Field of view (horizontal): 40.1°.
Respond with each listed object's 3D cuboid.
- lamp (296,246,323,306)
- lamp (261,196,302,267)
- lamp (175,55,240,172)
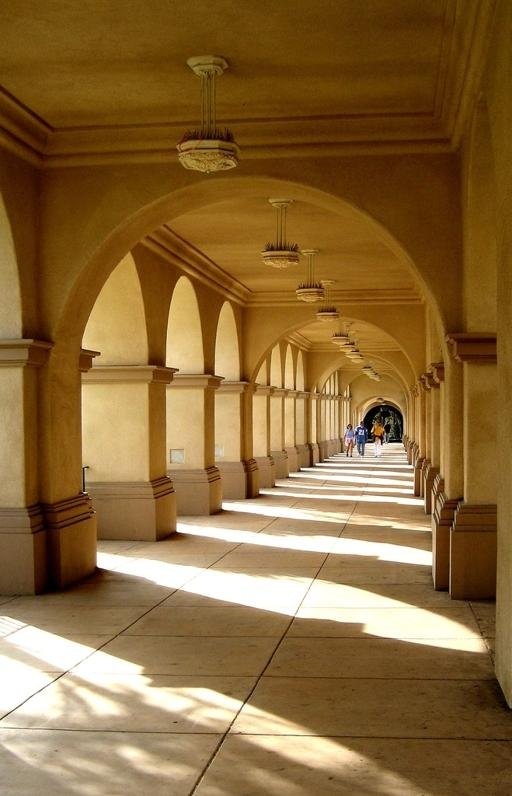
[{"bbox_3d":[1.061,-2.357,13.518,0.538,0.937,0.542,0,6,11],"label":"lamp"},{"bbox_3d":[0.354,-2.397,10.076,0.542,0.865,0.541,-7,13,-29],"label":"lamp"},{"bbox_3d":[-0.418,-2.240,5.792,0.460,0.920,1.102,-1,-3,-5],"label":"lamp"}]
